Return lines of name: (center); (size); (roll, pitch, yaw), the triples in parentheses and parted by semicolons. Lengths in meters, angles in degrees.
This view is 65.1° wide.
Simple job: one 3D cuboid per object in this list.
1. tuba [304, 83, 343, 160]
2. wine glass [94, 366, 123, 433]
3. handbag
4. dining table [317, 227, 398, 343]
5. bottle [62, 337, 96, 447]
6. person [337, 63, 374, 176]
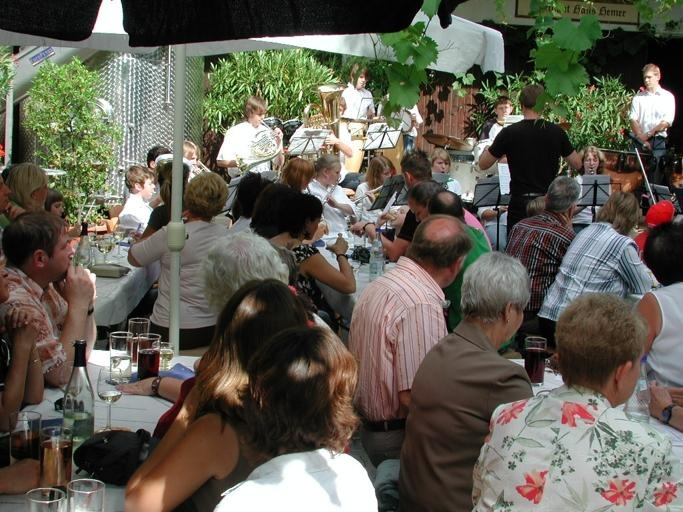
tuba: (-0.331, -2.368, 9.742); (0.577, 1.472, 0.574); (-15, 25, -41)
wine glass: (-1.013, 0.638, 2.342); (0.138, 0.340, 0.127); (2, -6, -10)
handbag: (-0.774, 0.662, 1.834); (0.202, 0.085, 0.178); (6, 14, 23)
dining table: (0.129, 0.205, 4.747); (0.680, 1.188, 0.665); (-4, 16, -11)
bottle: (-0.981, 0.512, 2.023); (0.109, 0.370, 0.090); (0, 0, -29)
person: (0.296, -2.840, 10.474); (0.730, 2.550, 0.692); (-7, 20, -26)
